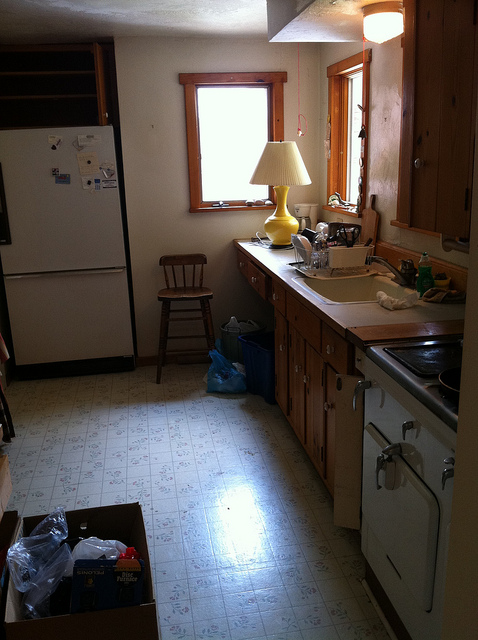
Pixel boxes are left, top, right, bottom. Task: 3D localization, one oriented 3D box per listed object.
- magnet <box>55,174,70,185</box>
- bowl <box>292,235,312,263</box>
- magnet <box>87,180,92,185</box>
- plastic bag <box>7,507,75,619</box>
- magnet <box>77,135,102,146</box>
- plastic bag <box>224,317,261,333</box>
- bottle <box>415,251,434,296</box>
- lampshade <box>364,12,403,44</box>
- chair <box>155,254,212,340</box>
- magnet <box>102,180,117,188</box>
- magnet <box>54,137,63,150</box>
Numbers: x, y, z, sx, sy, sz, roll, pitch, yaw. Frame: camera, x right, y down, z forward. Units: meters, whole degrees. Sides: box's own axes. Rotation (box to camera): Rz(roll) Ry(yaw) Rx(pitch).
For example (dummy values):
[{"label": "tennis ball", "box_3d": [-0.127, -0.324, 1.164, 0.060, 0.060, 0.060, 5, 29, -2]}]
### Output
[{"label": "magnet", "box_3d": [-1.249, -0.995, 3.427, 0.097, 0.079, 0.058, 2, 31, -7]}, {"label": "bowl", "box_3d": [0.355, -0.397, 2.717, 0.035, 0.137, 0.192, -17, 27, -9]}, {"label": "magnet", "box_3d": [-1.073, -0.983, 3.458, 0.020, 0.032, 0.012, 0, -4, -4]}, {"label": "plastic bag", "box_3d": [-0.574, 0.707, 1.420, 0.136, 0.207, 0.195, -2, 14, -22]}, {"label": "magnet", "box_3d": [-1.048, -1.263, 3.401, 0.157, 0.070, 0.030, -3, 12, -5]}, {"label": "plastic bag", "box_3d": [0.025, 0.035, 3.743, 0.282, 0.100, 0.162, -2, 13, 1]}, {"label": "bottle", "box_3d": [0.784, -0.196, 2.041, 0.068, 0.168, 0.174, 3, 13, 21]}, {"label": "lampshade", "box_3d": [0.636, -1.303, 2.144, 0.164, 0.088, 0.146, 1, 13, 15]}, {"label": "chair", "box_3d": [-0.448, -0.202, 3.845, 0.451, 0.962, 0.538, -1, 16, -6]}, {"label": "magnet", "box_3d": [-0.935, -0.979, 3.484, 0.082, 0.053, 0.021, -2, 6, -6]}, {"label": "magnet", "box_3d": [-1.251, -1.228, 3.380, 0.051, 0.097, 0.057, 10, 31, -4]}]
